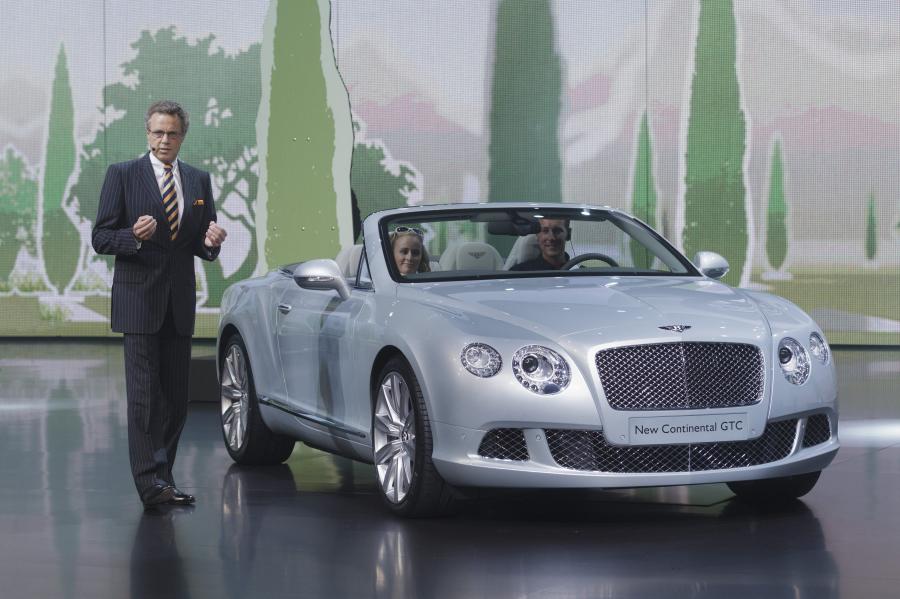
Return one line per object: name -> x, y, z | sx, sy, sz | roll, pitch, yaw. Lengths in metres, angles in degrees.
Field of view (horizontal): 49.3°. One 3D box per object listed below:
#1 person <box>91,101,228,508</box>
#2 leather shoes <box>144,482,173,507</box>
person -> -1.908, 0.013, 6.499 | 0.800, 2.628, 0.502 | -3, 6, -25
leather shoes -> -1.884, 1.285, 6.367 | 0.107, 0.096, 0.214 | 0, -30, -19
